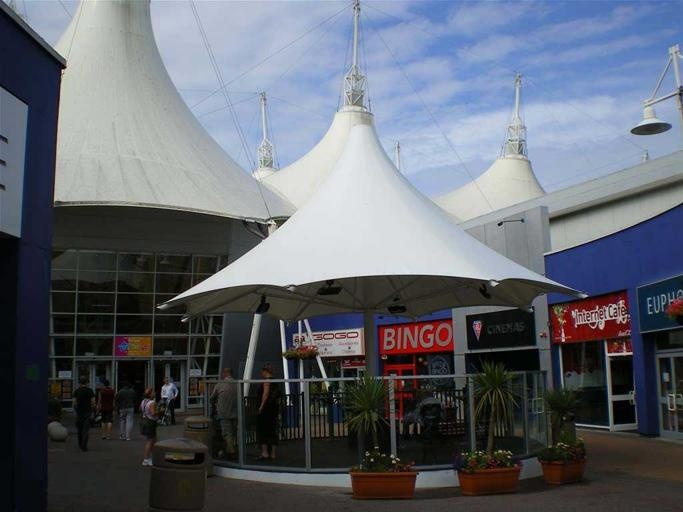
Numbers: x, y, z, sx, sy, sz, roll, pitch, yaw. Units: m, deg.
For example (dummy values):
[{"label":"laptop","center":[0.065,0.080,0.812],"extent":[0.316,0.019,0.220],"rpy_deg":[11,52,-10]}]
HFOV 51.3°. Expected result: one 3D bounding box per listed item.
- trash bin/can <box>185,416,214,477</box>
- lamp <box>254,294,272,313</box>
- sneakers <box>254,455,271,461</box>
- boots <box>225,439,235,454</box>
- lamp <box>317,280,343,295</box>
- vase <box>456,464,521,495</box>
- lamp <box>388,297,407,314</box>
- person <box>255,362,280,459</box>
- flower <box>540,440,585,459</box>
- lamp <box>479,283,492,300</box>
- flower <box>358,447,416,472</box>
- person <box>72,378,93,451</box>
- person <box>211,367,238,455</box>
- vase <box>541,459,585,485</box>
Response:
[{"label":"trash bin/can","center":[-2.908,3.860,14.405],"extent":[0.606,1.128,0.636],"rpy_deg":[-3,-11,2]},{"label":"lamp","center":[-1.780,1.115,15.792],"extent":[0.198,0.269,0.672],"rpy_deg":[2,-22,-1]},{"label":"sneakers","center":[-1.552,4.006,14.113],"extent":[0.318,0.125,0.205],"rpy_deg":[4,-15,-18]},{"label":"boots","center":[-2.220,3.799,14.244],"extent":[0.228,0.254,0.246],"rpy_deg":[2,-18,-4]},{"label":"lamp","center":[-0.295,0.664,15.454],"extent":[0.395,0.424,0.407],"rpy_deg":[-11,-24,19]},{"label":"vase","center":[2.537,3.850,12.241],"extent":[1.050,0.480,0.383],"rpy_deg":[2,-14,-11]},{"label":"lamp","center":[1.323,1.091,16.997],"extent":[0.403,0.415,0.425],"rpy_deg":[0,-23,1]},{"label":"person","center":[-1.470,3.339,14.430],"extent":[0.552,1.513,0.321],"rpy_deg":[9,-16,-35]},{"label":"flower","center":[4.031,3.535,12.941],"extent":[0.854,0.374,0.384],"rpy_deg":[5,-15,-23]},{"label":"lamp","center":[3.102,0.758,15.339],"extent":[0.312,0.097,0.319],"rpy_deg":[27,-20,-4]},{"label":"flower","center":[0.730,3.534,12.180],"extent":[0.603,0.294,0.606],"rpy_deg":[5,-11,-15]},{"label":"person","center":[-6.857,4.174,18.820],"extent":[0.470,1.857,1.543],"rpy_deg":[4,-15,-20]},{"label":"person","center":[-2.330,3.277,14.348],"extent":[0.729,1.544,0.227],"rpy_deg":[-13,-18,42]},{"label":"vase","center":[4.010,3.897,12.848],"extent":[0.771,0.441,0.486],"rpy_deg":[-3,-14,7]}]
